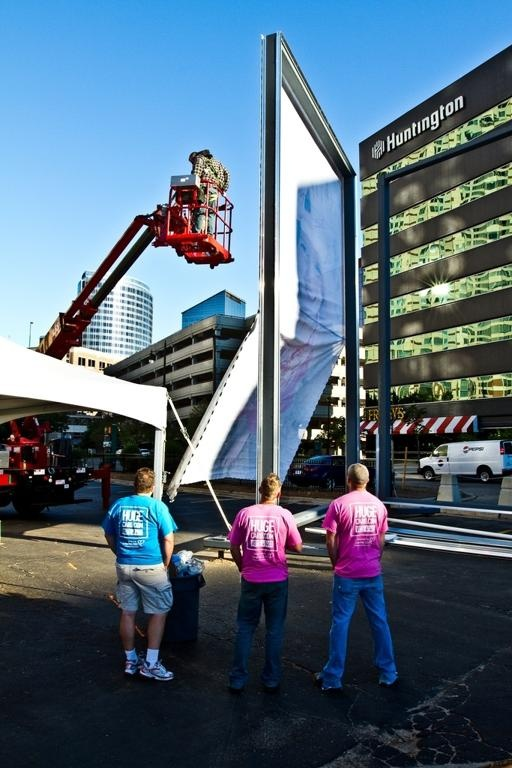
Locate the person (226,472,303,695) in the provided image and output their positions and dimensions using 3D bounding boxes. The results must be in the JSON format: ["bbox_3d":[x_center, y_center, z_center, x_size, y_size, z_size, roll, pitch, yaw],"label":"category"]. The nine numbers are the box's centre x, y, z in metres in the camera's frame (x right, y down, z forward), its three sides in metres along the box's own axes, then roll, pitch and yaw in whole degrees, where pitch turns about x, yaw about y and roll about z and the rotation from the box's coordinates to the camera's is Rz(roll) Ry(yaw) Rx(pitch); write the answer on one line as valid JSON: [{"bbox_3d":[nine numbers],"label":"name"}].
[{"bbox_3d":[0.053,1.365,4.346,0.498,1.437,0.348,1,-5,2],"label":"person"}]

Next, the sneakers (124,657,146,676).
[{"bbox_3d":[-0.880,2.084,4.653,0.085,0.107,0.229,-1,-2,13],"label":"sneakers"}]

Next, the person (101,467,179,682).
[{"bbox_3d":[-0.840,1.383,4.592,0.551,1.496,0.366,1,-5,4],"label":"person"}]

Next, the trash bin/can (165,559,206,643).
[{"bbox_3d":[-0.586,1.966,5.495,0.414,0.496,0.369,-6,-26,15],"label":"trash bin/can"}]

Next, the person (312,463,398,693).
[{"bbox_3d":[0.721,1.354,4.458,0.574,1.530,0.384,2,-5,-5],"label":"person"}]

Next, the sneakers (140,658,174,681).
[{"bbox_3d":[-0.706,2.063,4.526,0.259,0.138,0.105,3,-11,11],"label":"sneakers"}]
